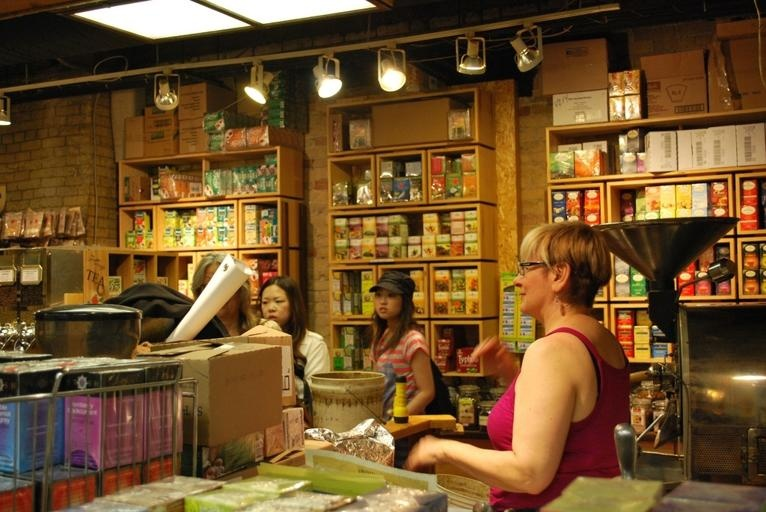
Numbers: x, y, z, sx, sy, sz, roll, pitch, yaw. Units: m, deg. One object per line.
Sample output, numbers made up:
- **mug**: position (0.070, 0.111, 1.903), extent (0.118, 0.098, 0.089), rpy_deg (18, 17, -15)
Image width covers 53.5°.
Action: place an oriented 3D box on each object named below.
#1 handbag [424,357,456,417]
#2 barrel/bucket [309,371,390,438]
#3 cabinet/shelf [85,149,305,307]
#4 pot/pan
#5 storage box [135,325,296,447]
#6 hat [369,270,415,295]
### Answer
- **handbag**: position (0.364, 0.866, 4.901), extent (0.213, 0.421, 0.148), rpy_deg (-2, 19, 10)
- **barrel/bucket**: position (-0.154, 0.696, 3.443), extent (0.330, 0.310, 0.339), rpy_deg (0, 2, 0)
- **cabinet/shelf**: position (-1.635, -0.269, 6.899), extent (1.780, 1.475, 0.511), rpy_deg (-1, -3, 17)
- **pot/pan**: position (-1.117, 0.286, 2.923), extent (0.364, 0.193, 0.414), rpy_deg (-11, -12, 42)
- **storage box**: position (-0.610, 0.465, 2.893), extent (0.266, 0.397, 0.421), rpy_deg (12, 13, 42)
- **hat**: position (0.091, 0.186, 5.209), extent (0.179, 0.115, 0.240), rpy_deg (6, -3, 29)
